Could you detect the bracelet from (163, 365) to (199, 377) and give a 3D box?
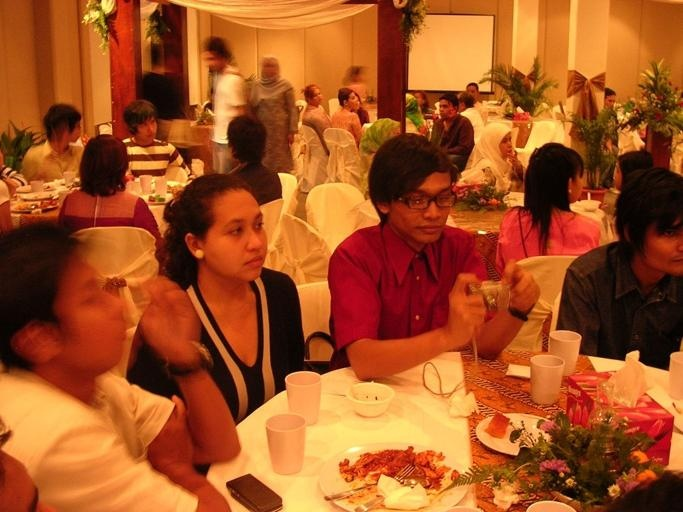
[{"bbox_3d":[-0.437,0.310,1.454,0.051,0.020,0.045,10,-5,-40],"label":"bracelet"}]

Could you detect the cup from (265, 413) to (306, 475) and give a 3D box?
[{"bbox_3d":[-0.127,0.446,1.263,0.109,0.134,0.118,-3,3,0],"label":"cup"}]

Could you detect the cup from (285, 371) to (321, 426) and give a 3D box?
[{"bbox_3d":[-0.098,0.386,1.467,0.112,0.141,0.121,-2,8,0],"label":"cup"}]

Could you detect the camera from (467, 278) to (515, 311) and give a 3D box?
[{"bbox_3d":[0.450,0.115,1.660,0.109,0.077,0.117,-7,10,-14],"label":"camera"}]

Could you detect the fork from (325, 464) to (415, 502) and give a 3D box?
[{"bbox_3d":[0.077,0.519,1.204,0.229,0.015,0.053,-8,16,-26],"label":"fork"}]

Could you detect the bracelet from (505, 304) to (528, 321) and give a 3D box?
[{"bbox_3d":[0.624,0.204,1.933,0.070,0.070,0.056,-13,21,-18],"label":"bracelet"}]

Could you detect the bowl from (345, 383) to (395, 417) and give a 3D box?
[{"bbox_3d":[0.082,0.415,1.544,0.135,0.064,0.120,0,14,6],"label":"bowl"}]
